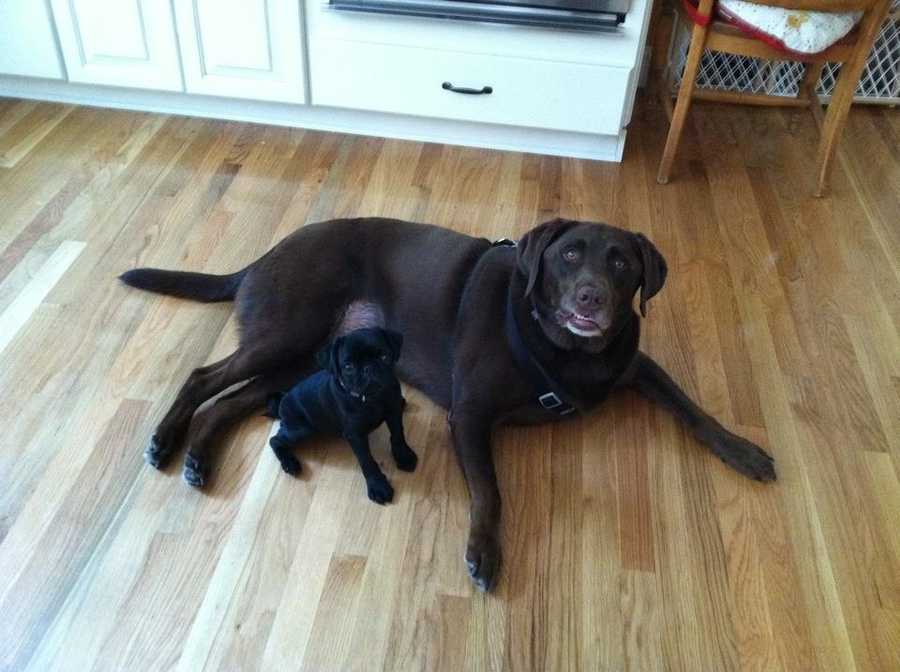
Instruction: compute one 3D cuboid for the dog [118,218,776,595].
[{"bbox_3d":[-0.188,0.218,2.139,1.840,0.895,1.042,18,37,22],"label":"dog"}]
